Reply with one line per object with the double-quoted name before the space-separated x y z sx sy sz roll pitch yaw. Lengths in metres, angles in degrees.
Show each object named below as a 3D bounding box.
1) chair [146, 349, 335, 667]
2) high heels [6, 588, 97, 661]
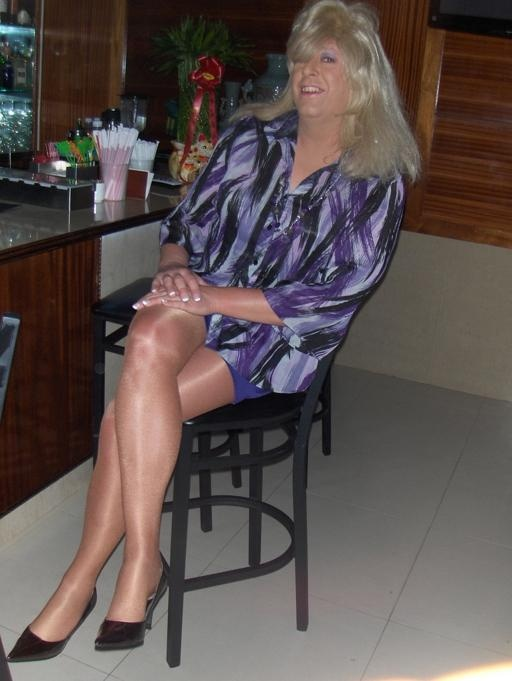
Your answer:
"chair" -0.033 0.303 1.270 0.405 0.608 0.404 0 3 23
"high heels" -0.331 0.498 1.045 0.137 0.112 0.167 2 18 -4
